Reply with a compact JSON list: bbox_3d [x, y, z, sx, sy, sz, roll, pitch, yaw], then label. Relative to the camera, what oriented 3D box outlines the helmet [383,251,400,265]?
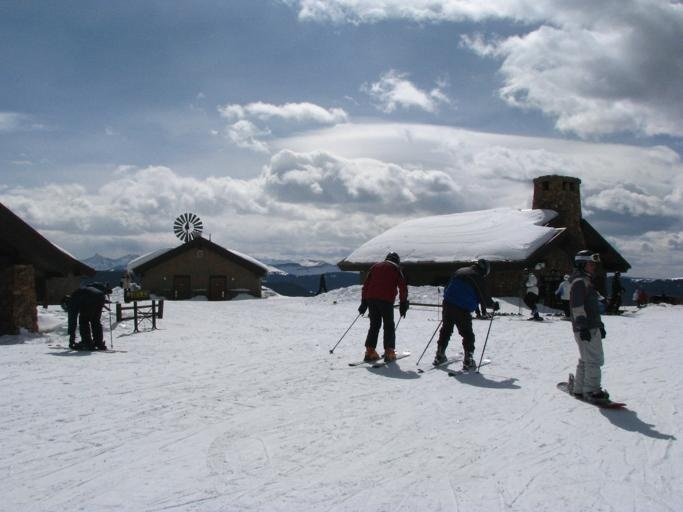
[{"bbox_3d":[1.164,0.025,12.186,0.307,0.298,0.244,2,9,-31],"label":"helmet"}]

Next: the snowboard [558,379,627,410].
[{"bbox_3d":[4.159,2.435,9.176,0.239,0.134,1.384,-27,0,-14],"label":"snowboard"}]

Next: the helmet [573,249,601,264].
[{"bbox_3d":[4.297,0.009,9.326,0.397,0.211,0.301,-2,-1,-6],"label":"helmet"}]

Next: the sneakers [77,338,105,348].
[{"bbox_3d":[-5.988,2.113,12.796,0.674,0.224,0.210,-1,7,-14],"label":"sneakers"}]

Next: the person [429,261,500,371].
[{"bbox_3d":[2.546,1.222,11.142,1.176,2.276,1.202,3,8,16],"label":"person"}]

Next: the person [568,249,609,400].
[{"bbox_3d":[4.216,1.188,9.063,0.711,2.484,0.988,4,8,23],"label":"person"}]

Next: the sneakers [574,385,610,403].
[{"bbox_3d":[4.142,2.316,8.967,0.639,0.278,0.221,-12,-14,40],"label":"sneakers"}]

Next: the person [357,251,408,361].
[{"bbox_3d":[0.926,1.124,11.887,1.071,2.384,0.906,1,7,8],"label":"person"}]

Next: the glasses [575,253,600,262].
[{"bbox_3d":[4.289,0.012,9.308,0.306,0.162,0.223,-3,0,-15],"label":"glasses"}]

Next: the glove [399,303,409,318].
[{"bbox_3d":[1.394,1.144,11.589,0.148,0.381,0.270,8,-6,-32],"label":"glove"}]
